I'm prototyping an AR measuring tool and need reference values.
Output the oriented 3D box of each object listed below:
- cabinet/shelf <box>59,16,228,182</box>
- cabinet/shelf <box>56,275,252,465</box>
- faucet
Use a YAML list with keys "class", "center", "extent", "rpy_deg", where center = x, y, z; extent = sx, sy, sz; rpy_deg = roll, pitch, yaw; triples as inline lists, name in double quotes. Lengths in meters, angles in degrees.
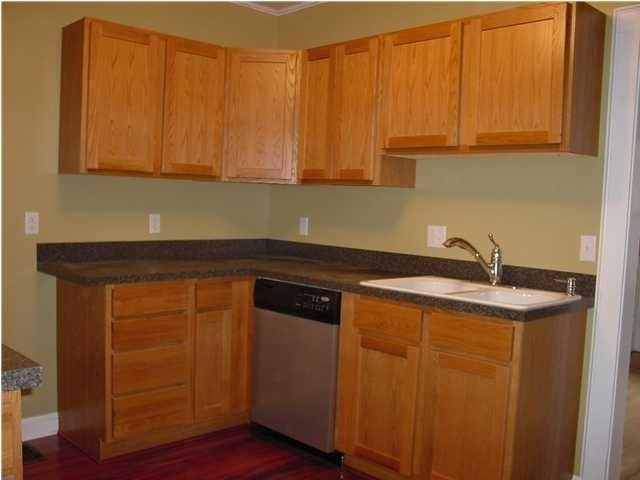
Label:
- class: "cabinet/shelf"
  center: [-0.942, -0.839, 3.385]
  extent: [0.982, 0.841, 0.330]
  rpy_deg: [6, 8, 18]
- class: "cabinet/shelf"
  center: [-1.038, 0.748, 3.345]
  extent: [0.543, 0.966, 1.037]
  rpy_deg: [-1, -3, 40]
- class: "faucet"
  center: [0.843, 0.082, 2.888]
  extent: [0.362, 0.275, 0.080]
  rpy_deg: [12, -5, -14]
